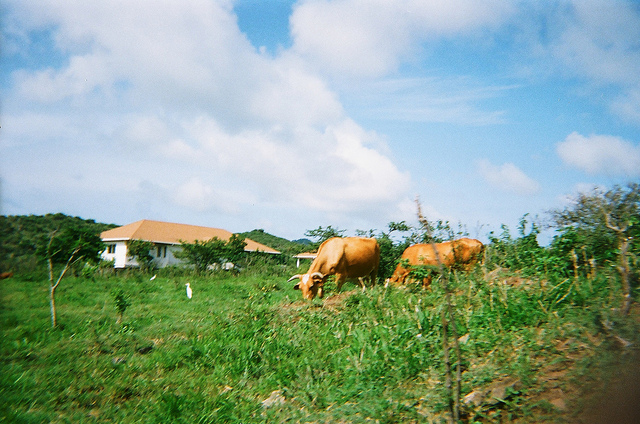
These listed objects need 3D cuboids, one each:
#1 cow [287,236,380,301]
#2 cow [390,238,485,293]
[{"bbox_3d":[0.804,2.118,16.624,3.953,2.256,1.635,-5,3,-44],"label":"cow"},{"bbox_3d":[3.819,1.837,14.990,3.245,1.714,0.880,-11,-2,21],"label":"cow"}]
